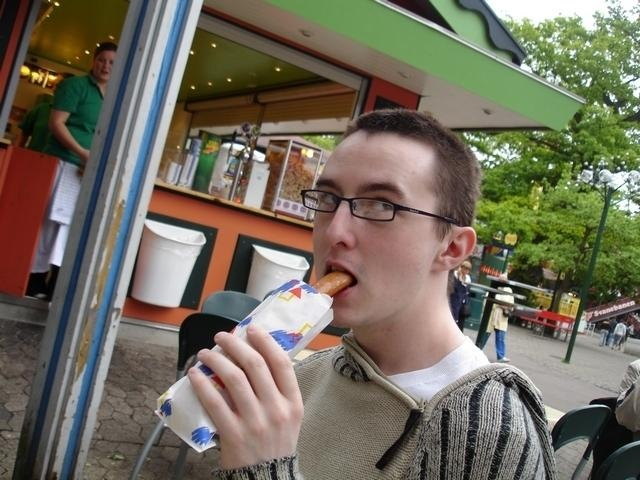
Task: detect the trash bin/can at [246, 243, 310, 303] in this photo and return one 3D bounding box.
[{"bbox_3d":[-0.532,0.447,6.576,0.892,0.911,0.673,10,-7,-7],"label":"trash bin/can"}]

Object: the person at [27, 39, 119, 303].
[{"bbox_3d":[-2.735,-0.916,5.117,0.469,2.636,0.496,12,1,-32],"label":"person"}]

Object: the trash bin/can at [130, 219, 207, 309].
[{"bbox_3d":[-1.867,0.279,5.728,0.852,1.016,0.858,20,4,17],"label":"trash bin/can"}]
